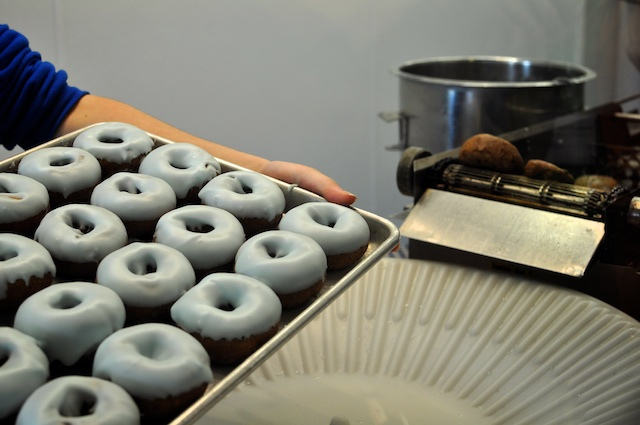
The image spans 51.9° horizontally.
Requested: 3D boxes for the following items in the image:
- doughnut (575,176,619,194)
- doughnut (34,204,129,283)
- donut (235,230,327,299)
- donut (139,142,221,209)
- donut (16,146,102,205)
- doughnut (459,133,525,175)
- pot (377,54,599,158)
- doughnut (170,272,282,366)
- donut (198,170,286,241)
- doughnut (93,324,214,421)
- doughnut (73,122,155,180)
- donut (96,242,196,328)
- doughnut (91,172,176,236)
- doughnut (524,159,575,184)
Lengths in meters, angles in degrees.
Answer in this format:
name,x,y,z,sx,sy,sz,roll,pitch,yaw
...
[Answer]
name,x,y,z,sx,sy,sz,roll,pitch,yaw
doughnut,0.703,-0.075,1.679,0.100,0.023,0.084,16,26,25
doughnut,-0.430,0.046,1.172,0.131,0.079,0.142,18,31,-4
donut,-0.067,0.088,1.167,0.121,0.062,0.125,0,32,-6
donut,-0.271,-0.087,1.310,0.128,0.059,0.137,-1,48,-9
donut,-0.498,-0.077,1.266,0.118,0.058,0.125,3,36,-3
doughnut,0.441,-0.160,1.670,0.113,0.049,0.124,1,21,-26
pot,0.432,-0.305,1.734,0.371,0.174,0.327,3,17,20
doughnut,-0.160,0.176,1.149,0.179,0.100,0.173,11,28,15
donut,-0.118,-0.027,1.321,0.178,0.089,0.185,3,31,19
doughnut,-0.258,0.243,1.037,0.147,0.075,0.152,40,34,29
doughnut,-0.436,-0.114,1.351,0.108,0.048,0.117,2,16,-4
donut,-0.312,0.122,1.172,0.147,0.102,0.160,6,28,-10
doughnut,-0.350,-0.024,1.243,0.118,0.073,0.127,24,25,12
doughnut,0.562,-0.106,1.620,0.085,0.029,0.064,11,10,28
